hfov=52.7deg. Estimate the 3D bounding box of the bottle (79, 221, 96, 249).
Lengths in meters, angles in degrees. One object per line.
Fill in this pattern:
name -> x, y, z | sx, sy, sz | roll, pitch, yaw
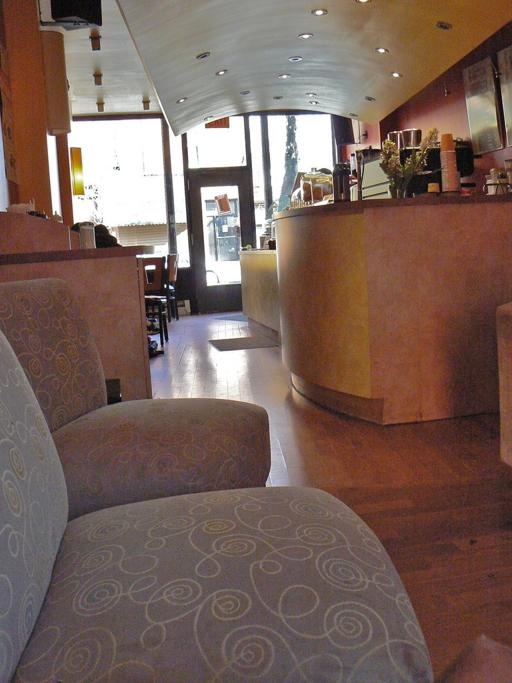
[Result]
bottle -> -0.876, -0.552, 2.661 | 0.073, 0.132, 0.323 | -3, 11, -18
